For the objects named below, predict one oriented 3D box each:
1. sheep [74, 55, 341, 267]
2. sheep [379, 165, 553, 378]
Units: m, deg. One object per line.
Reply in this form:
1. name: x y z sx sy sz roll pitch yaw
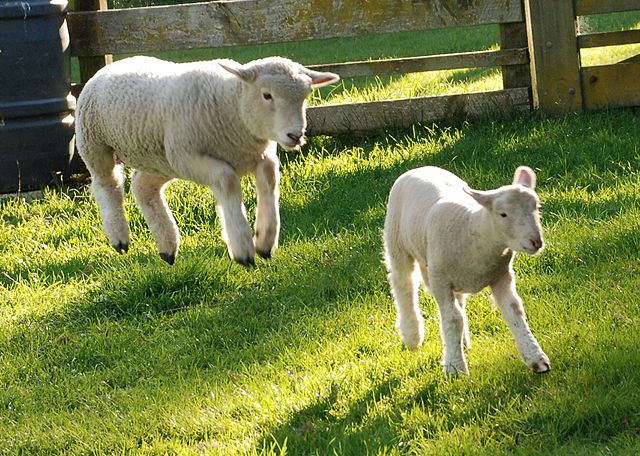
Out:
1. sheep: -0.951 -0.552 6.296 2.128 1.621 0.943 3 9 35
2. sheep: 0.948 0.235 5.722 0.558 1.455 1.872 -9 14 -19
